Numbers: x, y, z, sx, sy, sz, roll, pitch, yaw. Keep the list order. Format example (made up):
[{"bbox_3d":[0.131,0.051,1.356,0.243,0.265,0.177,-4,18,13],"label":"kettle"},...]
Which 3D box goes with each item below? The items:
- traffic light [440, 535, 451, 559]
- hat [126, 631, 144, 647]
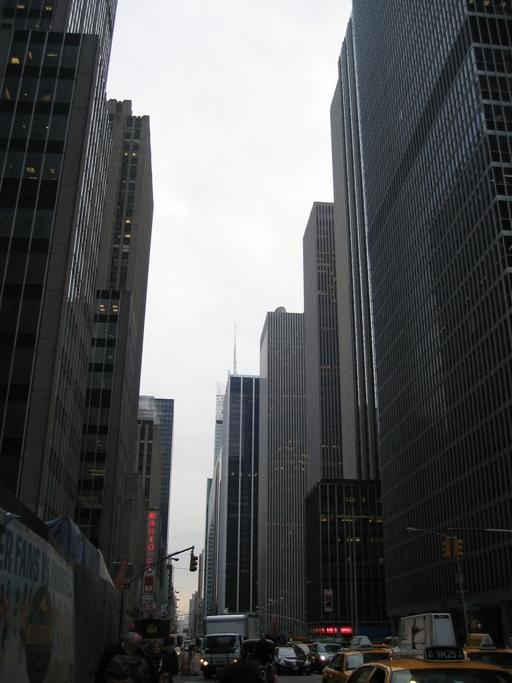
[{"bbox_3d":[11.016,11.957,34.459,0.389,1.068,1.473,-7,-27,19],"label":"traffic light"},{"bbox_3d":[-1.516,3.738,7.463,0.288,0.167,0.245,23,-33,-35],"label":"hat"}]
